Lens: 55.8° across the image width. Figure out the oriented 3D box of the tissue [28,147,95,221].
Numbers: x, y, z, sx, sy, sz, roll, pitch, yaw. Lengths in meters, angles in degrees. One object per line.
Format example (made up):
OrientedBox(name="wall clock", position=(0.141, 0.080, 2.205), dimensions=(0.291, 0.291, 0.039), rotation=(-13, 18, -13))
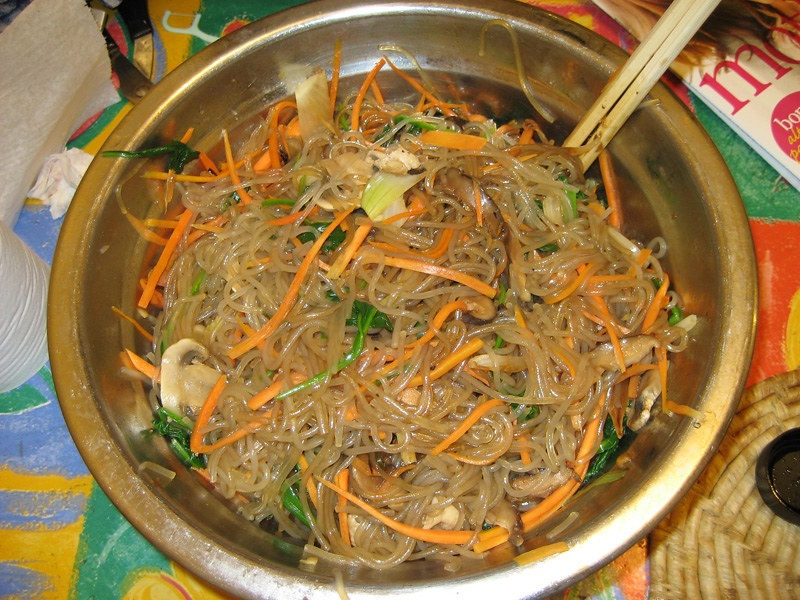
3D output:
OrientedBox(name="tissue", position=(-1.626, -0.581, 3.671), dimensions=(0.292, 0.121, 0.396), rotation=(17, 87, -3))
